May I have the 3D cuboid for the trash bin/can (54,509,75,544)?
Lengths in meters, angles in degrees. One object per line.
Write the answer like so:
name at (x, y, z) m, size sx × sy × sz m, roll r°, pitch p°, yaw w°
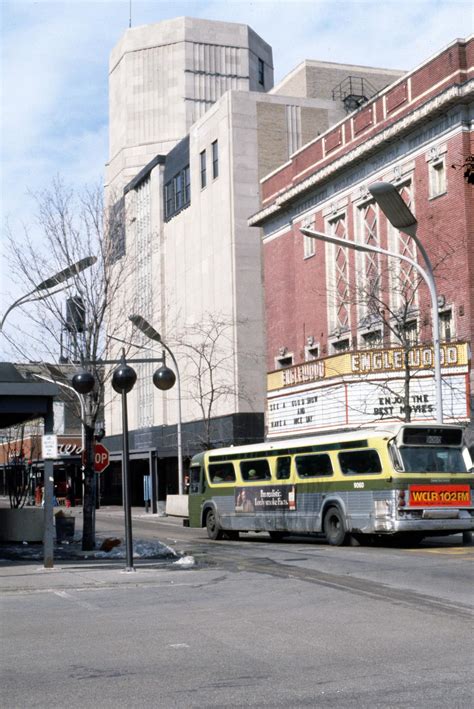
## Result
trash bin/can at (-4.579, 4.657, 26.672) m, size 0.637 × 1.056 × 0.694 m, roll -3°, pitch -5°, yaw 14°
